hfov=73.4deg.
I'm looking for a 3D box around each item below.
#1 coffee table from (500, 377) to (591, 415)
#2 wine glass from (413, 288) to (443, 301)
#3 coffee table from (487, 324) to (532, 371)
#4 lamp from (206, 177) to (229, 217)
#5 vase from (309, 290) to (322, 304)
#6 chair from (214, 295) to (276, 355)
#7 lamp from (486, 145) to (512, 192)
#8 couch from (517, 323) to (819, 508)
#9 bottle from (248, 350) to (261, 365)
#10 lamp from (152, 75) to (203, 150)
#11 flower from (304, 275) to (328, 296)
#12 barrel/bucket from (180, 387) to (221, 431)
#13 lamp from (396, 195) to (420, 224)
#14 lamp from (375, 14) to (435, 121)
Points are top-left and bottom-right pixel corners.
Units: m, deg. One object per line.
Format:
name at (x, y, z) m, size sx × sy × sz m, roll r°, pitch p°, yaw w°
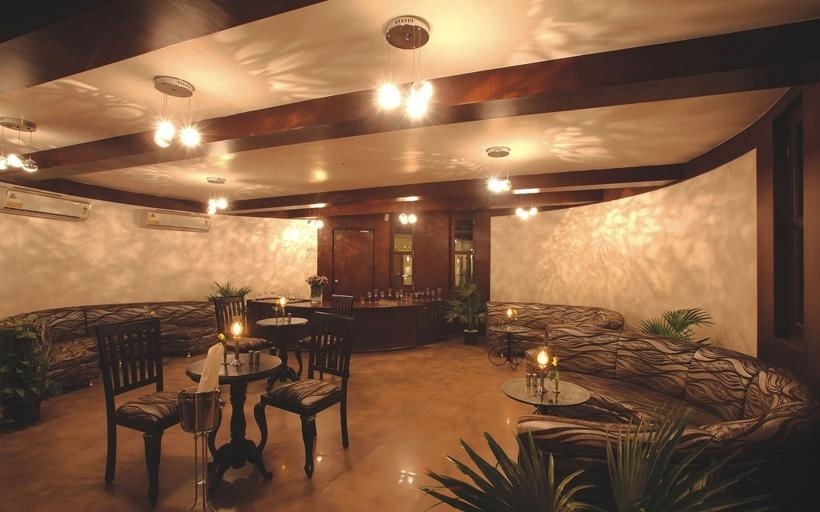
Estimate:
coffee table at (1.570, 1.717, 6.429) m, size 1.087 × 0.264 × 1.057 m, roll 2°, pitch 1°, yaw 23°
wine glass at (0.365, 0.834, 11.953) m, size 0.624 × 0.256 × 0.378 m, roll 1°, pitch -2°, yaw 0°
coffee table at (1.831, 1.705, 9.907) m, size 0.778 × 0.633 × 0.761 m, roll -4°, pitch -17°, yaw 38°
lamp at (-3.206, -1.059, 9.213) m, size 0.290 × 0.440 × 0.280 m, roll -5°, pitch 1°, yaw 19°
vase at (-1.812, 0.818, 10.716) m, size 0.288 × 0.265 × 0.213 m, roll 5°, pitch 8°, yaw 31°
chair at (-2.765, 1.262, 8.898) m, size 0.828 × 1.087 × 0.772 m, roll 10°, pitch 9°, yaw 30°
lamp at (1.255, -1.243, 7.868) m, size 0.525 × 0.529 × 0.503 m, roll -2°, pitch -6°, yaw 13°
couch at (2.699, 1.705, 6.367) m, size 2.844 × 1.441 × 3.630 m, roll 1°, pitch -3°, yaw 11°
bottle at (-1.859, 1.231, 6.632) m, size 0.154 × 0.138 × 0.150 m, roll -1°, pitch -3°, yaw 36°
lamp at (-2.708, -1.569, 6.237) m, size 0.696 × 0.715 × 0.672 m, roll -8°, pitch 1°, yaw -24°
flower at (-1.753, 0.593, 10.860) m, size 0.503 × 0.468 × 0.491 m, roll 3°, pitch -5°, yaw -32°
barrel/bucket at (-1.923, 1.430, 5.113) m, size 0.392 × 0.368 × 0.378 m, roll 0°, pitch -4°, yaw 0°
lamp at (-0.026, -0.876, 10.649) m, size 0.493 × 0.552 × 0.470 m, roll 1°, pitch 0°, yaw 22°
lamp at (-0.043, -1.877, 5.720) m, size 0.588 × 0.895 × 0.802 m, roll 1°, pitch -2°, yaw 0°
